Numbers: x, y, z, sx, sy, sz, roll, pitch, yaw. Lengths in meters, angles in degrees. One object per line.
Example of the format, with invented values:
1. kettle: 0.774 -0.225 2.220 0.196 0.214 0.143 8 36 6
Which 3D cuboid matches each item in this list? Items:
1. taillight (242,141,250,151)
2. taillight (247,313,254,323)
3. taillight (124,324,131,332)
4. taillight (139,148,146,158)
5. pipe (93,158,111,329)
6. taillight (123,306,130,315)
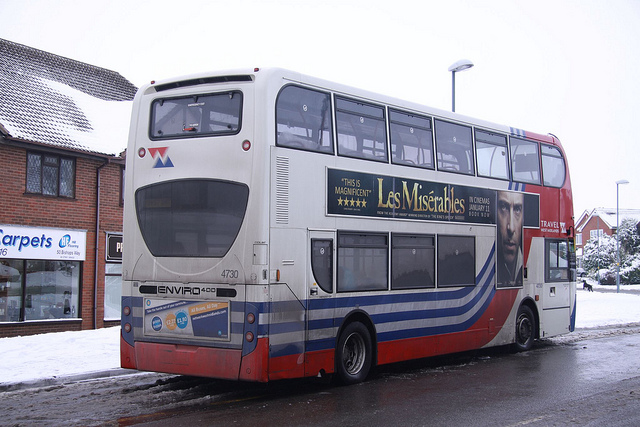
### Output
1. taillight: -1.431 -1.304 9.529 0.148 0.185 0.015 6 3 16
2. taillight: -1.309 1.957 9.301 0.132 0.170 0.009 6 3 15
3. taillight: -4.002 2.369 10.288 0.124 0.143 0.027 8 2 10
4. taillight: -3.728 -1.274 10.365 0.143 0.162 0.037 16 5 18
5. pipe: -10.171 1.293 22.761 0.418 7.738 0.819 3 3 -34
6. taillight: -4.050 2.014 10.337 0.180 0.170 0.034 8 4 34
